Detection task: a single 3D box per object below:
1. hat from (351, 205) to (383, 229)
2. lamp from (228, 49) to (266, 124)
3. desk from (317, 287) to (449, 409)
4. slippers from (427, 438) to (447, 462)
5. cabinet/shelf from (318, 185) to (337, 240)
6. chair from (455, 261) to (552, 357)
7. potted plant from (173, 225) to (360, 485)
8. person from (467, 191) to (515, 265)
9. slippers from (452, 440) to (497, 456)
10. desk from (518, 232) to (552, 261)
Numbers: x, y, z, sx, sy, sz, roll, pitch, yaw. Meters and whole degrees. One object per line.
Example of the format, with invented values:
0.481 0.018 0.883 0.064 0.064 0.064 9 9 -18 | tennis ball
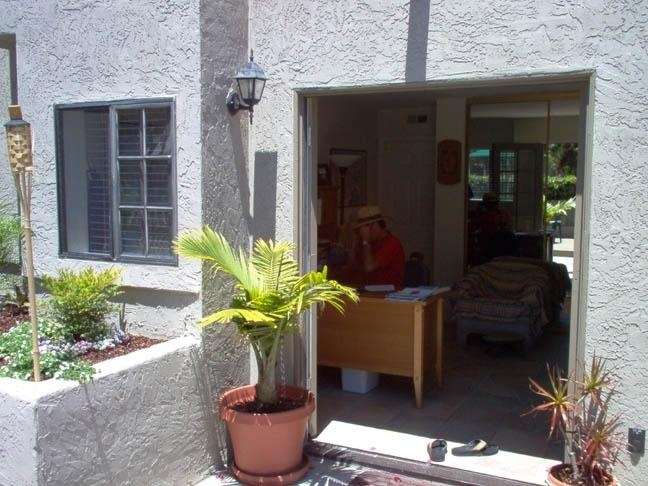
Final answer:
0.546 -0.324 6.161 0.326 0.181 0.417 -18 1 9 | hat
-0.592 -1.191 3.942 0.254 0.532 0.225 7 12 23 | lamp
0.490 1.079 5.717 1.494 1.035 0.803 0 0 34 | desk
0.900 1.654 4.115 0.097 0.153 0.140 -6 15 9 | slippers
0.129 -0.380 7.685 0.226 0.915 0.428 -5 11 8 | cabinet/shelf
2.490 0.848 7.111 0.825 0.641 1.406 1 9 25 | chair
-0.453 0.831 3.877 1.095 1.929 0.938 -2 7 -17 | potted plant
2.831 -0.235 8.830 0.793 1.247 0.200 -1 7 -6 | person
1.227 1.673 4.188 0.276 0.083 0.150 -5 4 -4 | slippers
3.665 0.032 8.994 0.596 0.637 0.460 1 3 27 | desk
